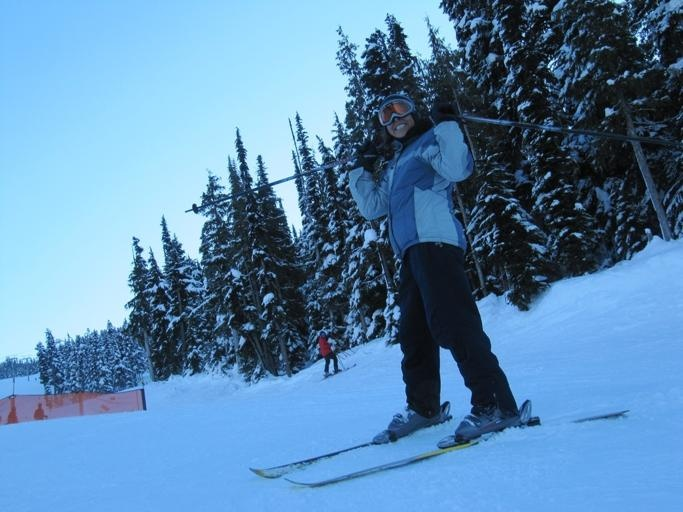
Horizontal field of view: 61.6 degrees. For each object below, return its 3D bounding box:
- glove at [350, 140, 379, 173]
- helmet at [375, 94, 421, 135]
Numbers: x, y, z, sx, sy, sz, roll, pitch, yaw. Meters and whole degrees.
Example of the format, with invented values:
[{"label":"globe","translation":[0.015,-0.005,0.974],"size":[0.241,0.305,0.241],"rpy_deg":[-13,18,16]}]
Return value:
[{"label":"glove","translation":[0.343,-1.377,7.833],"size":[0.319,0.474,0.126],"rpy_deg":[-24,-27,38]},{"label":"helmet","translation":[0.734,-1.779,7.619],"size":[0.395,0.578,0.530],"rpy_deg":[-15,-23,17]}]
